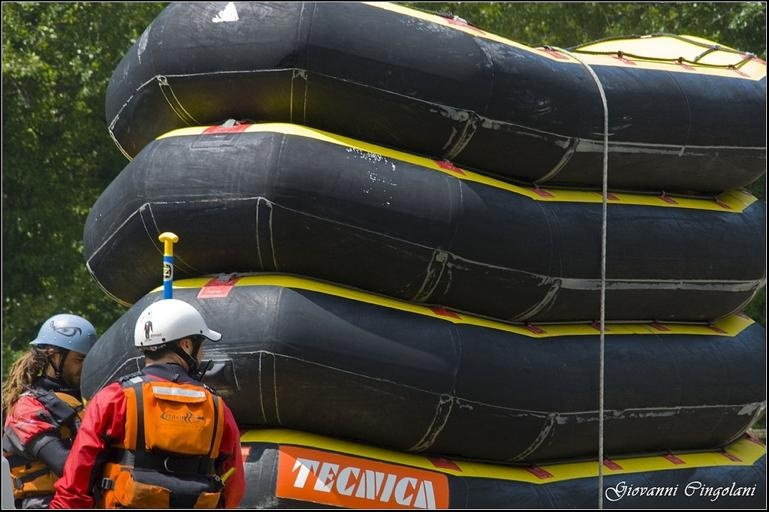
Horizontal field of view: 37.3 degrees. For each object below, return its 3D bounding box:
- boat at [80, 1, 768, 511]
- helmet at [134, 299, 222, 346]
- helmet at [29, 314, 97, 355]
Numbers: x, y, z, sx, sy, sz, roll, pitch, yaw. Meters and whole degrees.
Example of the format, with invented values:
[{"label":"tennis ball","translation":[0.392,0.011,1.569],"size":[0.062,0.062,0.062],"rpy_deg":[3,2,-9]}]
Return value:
[{"label":"boat","translation":[0.223,0.189,9.817],"size":[6.005,3.476,3.545],"rpy_deg":[10,78,-35]},{"label":"helmet","translation":[-1.459,0.478,7.816],"size":[0.469,0.311,0.210],"rpy_deg":[-10,96,-22]},{"label":"helmet","translation":[-2.450,0.592,8.711],"size":[0.432,0.302,0.199],"rpy_deg":[18,85,-24]}]
